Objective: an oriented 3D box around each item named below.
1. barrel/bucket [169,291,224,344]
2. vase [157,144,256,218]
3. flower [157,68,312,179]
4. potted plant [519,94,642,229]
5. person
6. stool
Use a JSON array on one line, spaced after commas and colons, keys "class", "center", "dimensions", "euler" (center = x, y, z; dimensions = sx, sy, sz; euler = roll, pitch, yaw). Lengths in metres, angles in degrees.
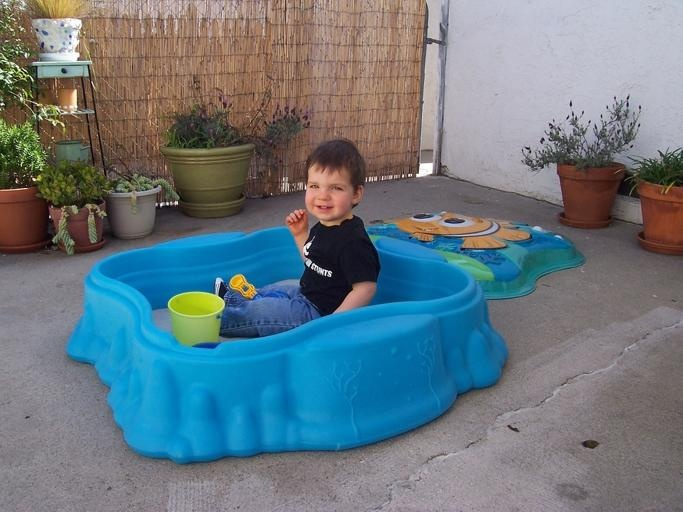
[{"class": "barrel/bucket", "center": [-0.591, 0.244, 2.077], "dimensions": [0.205, 0.164, 0.201], "euler": [4, 28, -2]}, {"class": "vase", "center": [-1.234, -0.772, 4.711], "dimensions": [0.810, 0.672, 0.859], "euler": [3, 23, -10]}, {"class": "flower", "center": [-1.000, -1.213, 4.688], "dimensions": [0.733, 0.509, 1.058], "euler": [27, 36, 34]}, {"class": "potted plant", "center": [2.011, -0.760, 4.296], "dimensions": [0.877, 0.982, 0.696], "euler": [-12, 4, -3]}, {"class": "person", "center": [-0.100, -0.168, 2.516], "dimensions": [0.840, 1.061, 0.697], "euler": [2, 20, 0]}, {"class": "stool", "center": [-2.215, -1.151, 4.201], "dimensions": [0.464, 0.926, 0.323], "euler": [-9, 35, -28]}]
